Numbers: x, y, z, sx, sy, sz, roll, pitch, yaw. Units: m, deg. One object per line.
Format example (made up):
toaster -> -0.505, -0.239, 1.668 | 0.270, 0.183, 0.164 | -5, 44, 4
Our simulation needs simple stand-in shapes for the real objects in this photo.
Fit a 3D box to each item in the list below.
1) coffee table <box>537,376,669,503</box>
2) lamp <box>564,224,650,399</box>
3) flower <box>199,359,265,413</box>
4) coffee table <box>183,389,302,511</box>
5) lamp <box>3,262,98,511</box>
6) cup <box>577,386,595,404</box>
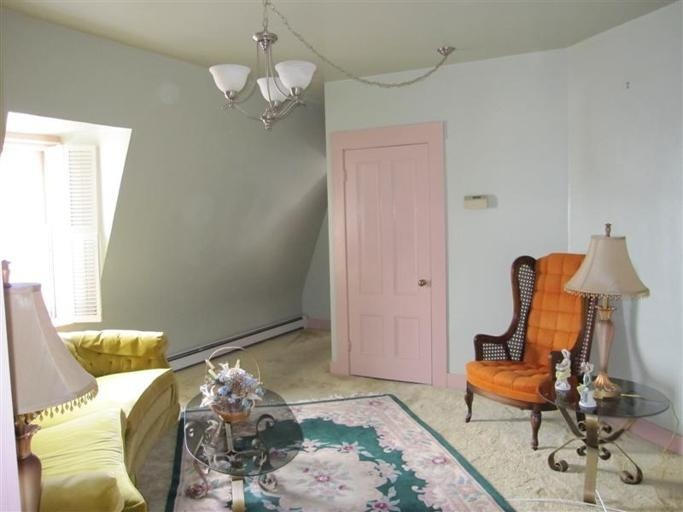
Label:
coffee table -> 1.693, 1.012, 3.206 | 0.722, 0.579, 0.763 | 6, 7, 40
lamp -> 1.638, 0.318, 3.224 | 0.351, 1.013, 0.353 | -5, 9, -22
flower -> -0.694, 0.750, 3.164 | 0.369, 0.231, 0.366 | 12, -15, -33
coffee table -> -0.608, 1.189, 3.140 | 0.681, 0.615, 0.827 | -4, 8, -19
lamp -> -1.214, 0.523, 2.177 | 0.309, 1.046, 0.294 | -6, 9, -28
cup -> 1.449, 0.823, 3.103 | 0.104, 0.106, 0.074 | -10, 8, -25
